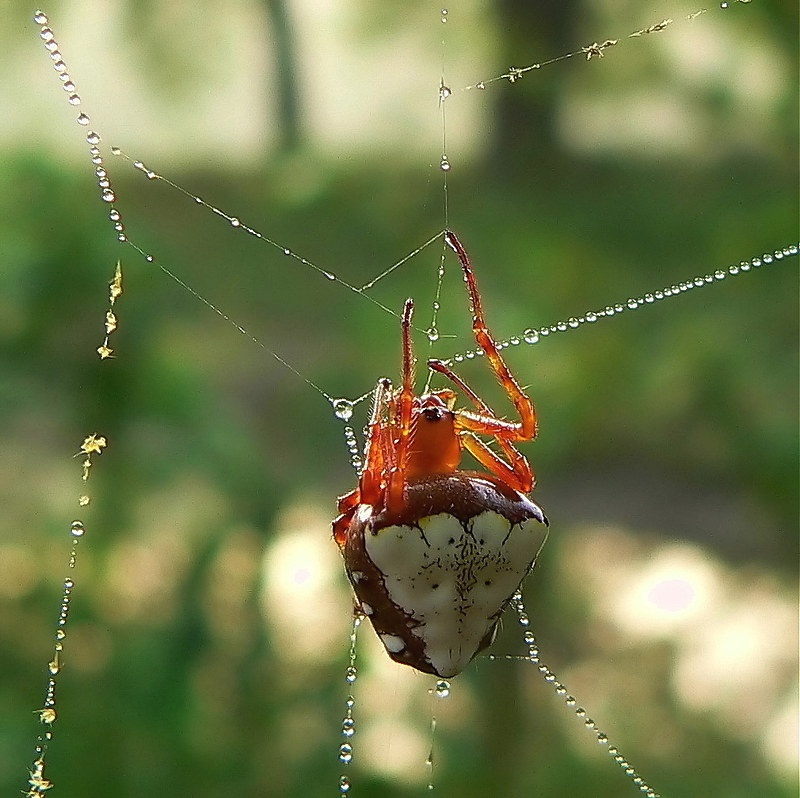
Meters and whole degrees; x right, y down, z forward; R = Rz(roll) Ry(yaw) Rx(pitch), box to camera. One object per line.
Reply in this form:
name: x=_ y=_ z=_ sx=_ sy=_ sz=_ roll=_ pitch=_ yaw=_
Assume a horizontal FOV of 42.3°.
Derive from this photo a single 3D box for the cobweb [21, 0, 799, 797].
cobweb: x=-0.025 y=-0.029 z=1.162 sx=0.853 sy=0.060 sz=1.097 roll=-2 pitch=90 yaw=5
